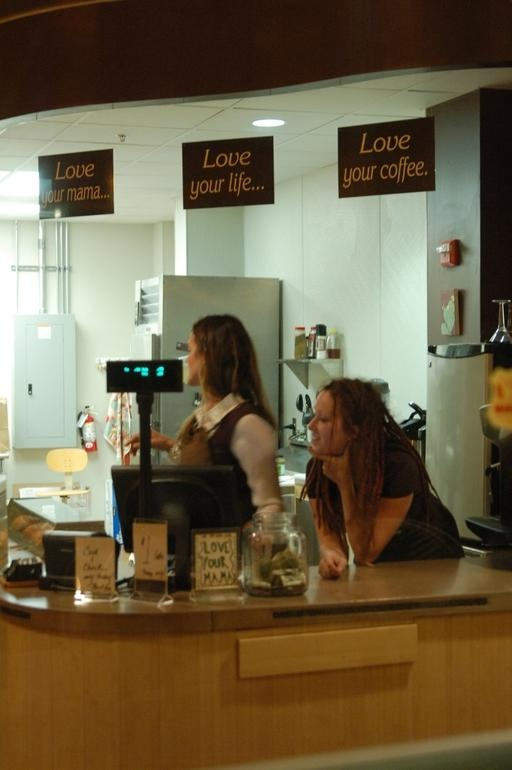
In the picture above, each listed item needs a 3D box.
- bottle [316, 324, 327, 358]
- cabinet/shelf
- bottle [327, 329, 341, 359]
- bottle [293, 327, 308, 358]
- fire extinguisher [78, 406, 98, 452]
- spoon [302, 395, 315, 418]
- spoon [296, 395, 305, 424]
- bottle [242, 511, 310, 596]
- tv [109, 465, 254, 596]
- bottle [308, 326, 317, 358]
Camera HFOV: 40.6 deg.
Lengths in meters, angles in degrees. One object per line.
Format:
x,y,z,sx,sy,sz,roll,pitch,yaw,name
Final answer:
0.179,-0.121,1.921,0.032,0.102,0.072,0,0,5,bottle
-0.637,-0.009,2.081,0.186,0.322,0.097,0,0,-20,cabinet/shelf
0.214,-0.114,1.919,0.036,0.083,0.066,0,0,5,bottle
0.125,-0.122,1.966,0.035,0.097,0.091,0,0,0,bottle
-0.500,0.133,2.080,0.055,0.105,0.061,0,0,-41,fire extinguisher
0.145,0.060,1.873,0.019,0.064,0.024,3,-8,3,spoon
0.122,0.067,1.901,0.012,0.071,0.017,3,-9,-32,spoon
0.042,0.334,1.408,0.132,0.153,0.129,-2,4,-27,bottle
-0.171,0.296,1.454,0.296,0.168,0.236,0,0,-1,tv
0.155,-0.120,1.928,0.020,0.093,0.063,0,0,3,bottle
